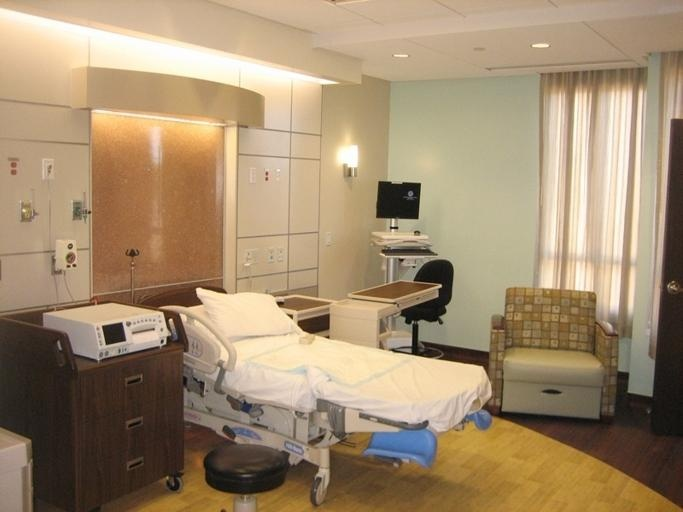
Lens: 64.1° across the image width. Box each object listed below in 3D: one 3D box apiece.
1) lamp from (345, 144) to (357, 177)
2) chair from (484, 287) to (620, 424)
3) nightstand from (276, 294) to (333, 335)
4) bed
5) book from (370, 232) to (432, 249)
[{"bbox_3d":[0.166,-1.160,6.697,0.117,0.384,0.347,5,10,22],"label":"lamp"},{"bbox_3d":[1.919,0.854,5.647,1.415,1.602,1.148,0,-4,16],"label":"chair"},{"bbox_3d":[-0.348,0.588,5.520,0.452,0.439,0.453,8,12,39],"label":"nightstand"},{"bbox_3d":[-0.214,0.924,4.099,2.371,1.046,1.254,5,9,31],"label":"bed"},{"bbox_3d":[0.735,-0.189,6.596,0.700,0.191,0.424,2,9,4],"label":"book"}]
